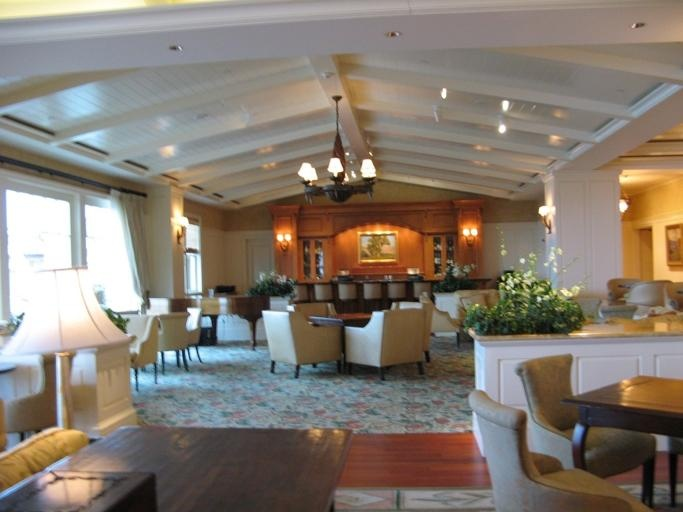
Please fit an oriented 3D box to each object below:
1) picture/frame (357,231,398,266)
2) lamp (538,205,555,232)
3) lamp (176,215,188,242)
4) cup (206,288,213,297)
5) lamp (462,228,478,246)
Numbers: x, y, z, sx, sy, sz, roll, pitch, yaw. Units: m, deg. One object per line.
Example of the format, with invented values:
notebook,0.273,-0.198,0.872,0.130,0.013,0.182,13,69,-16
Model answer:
picture/frame,0.919,-0.182,12.884,1.009,0.727,0.094,0,-5,2
lamp,3.639,-0.645,9.093,0.226,0.508,1.092,-1,1,20
lamp,-3.103,-0.502,9.888,0.179,0.571,0.499,-1,1,-9
cup,-2.985,0.827,11.457,0.155,0.253,0.158,1,0,0
lamp,3.070,-0.468,12.283,0.480,0.510,0.284,0,-2,1
